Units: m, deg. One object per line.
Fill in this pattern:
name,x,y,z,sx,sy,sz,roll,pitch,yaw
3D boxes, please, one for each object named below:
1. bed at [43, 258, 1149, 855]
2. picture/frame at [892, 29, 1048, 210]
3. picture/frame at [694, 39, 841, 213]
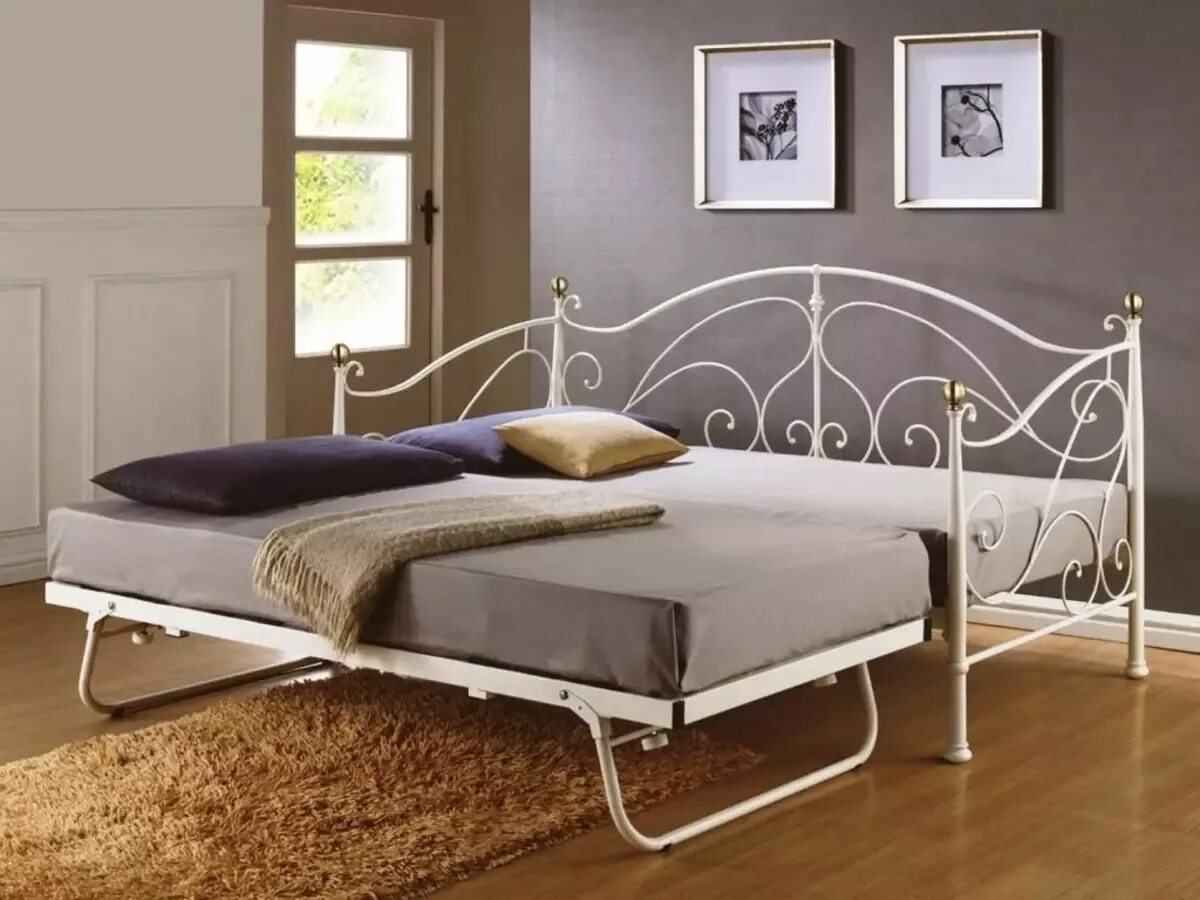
bed,0.376,0.219,2.871,2.031,0.855,2.015,2,4,39
picture/frame,1.156,-1.019,3.499,0.629,0.625,0.055,2,5,35
picture/frame,0.584,-1.088,3.823,0.672,0.655,0.078,1,2,32
